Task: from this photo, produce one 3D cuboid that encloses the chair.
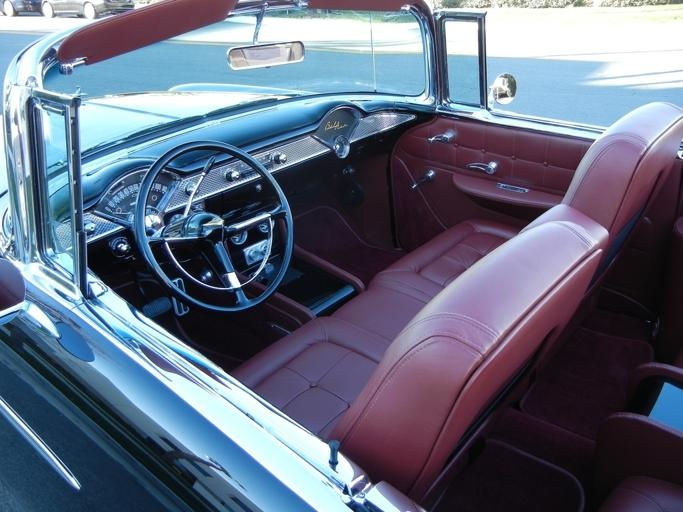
[{"bbox_3d":[0.445,0.140,1.901,0.659,0.673,1.585,24,37,30],"label":"chair"}]
